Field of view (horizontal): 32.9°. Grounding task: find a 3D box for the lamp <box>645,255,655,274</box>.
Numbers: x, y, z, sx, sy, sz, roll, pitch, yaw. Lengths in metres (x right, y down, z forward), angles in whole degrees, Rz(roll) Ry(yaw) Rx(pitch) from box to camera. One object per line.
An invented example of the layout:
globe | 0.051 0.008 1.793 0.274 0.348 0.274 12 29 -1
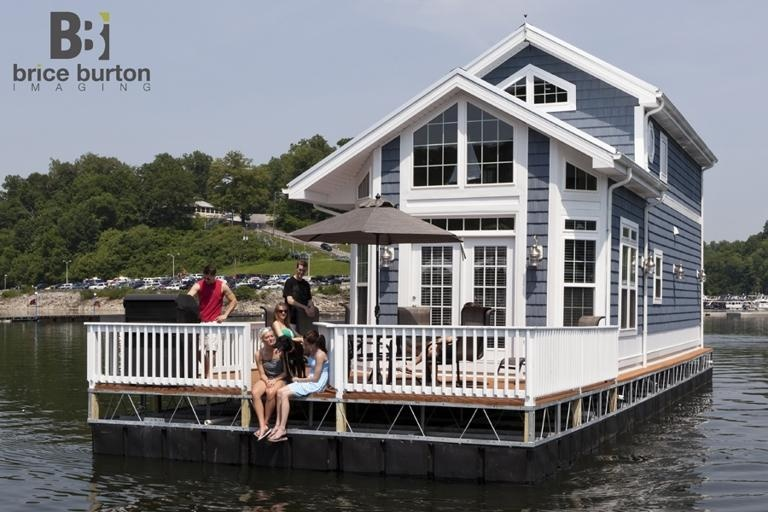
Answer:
lamp | 9.135 0.294 45.068 0.253 0.632 0.751 1 3 27

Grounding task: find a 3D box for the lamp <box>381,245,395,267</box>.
lamp | 0.091 0.009 42.677 0.465 0.658 0.218 2 8 4

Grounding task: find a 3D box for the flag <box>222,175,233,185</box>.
flag | -22.583 -10.838 187.799 1.374 1.410 0.543 -4 -16 -10

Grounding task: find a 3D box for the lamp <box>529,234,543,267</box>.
lamp | 4.846 -0.145 41.699 0.502 1.001 0.273 0 3 5

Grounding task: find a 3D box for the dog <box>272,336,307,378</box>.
dog | -2.819 2.908 38.380 0.468 1.262 0.786 -4 -2 18

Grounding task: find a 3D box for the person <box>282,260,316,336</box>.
person | -2.652 1.287 40.335 0.902 2.360 0.953 0 -2 3

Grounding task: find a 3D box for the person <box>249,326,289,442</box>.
person | -3.437 3.782 38.567 1.101 3.082 1.158 0 -2 21
